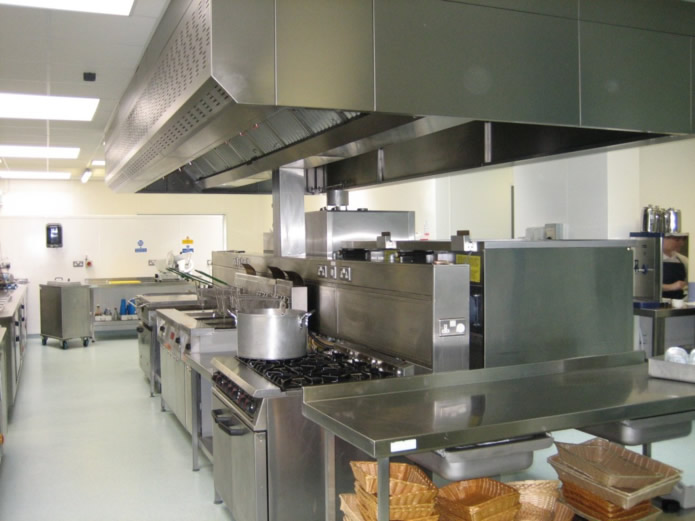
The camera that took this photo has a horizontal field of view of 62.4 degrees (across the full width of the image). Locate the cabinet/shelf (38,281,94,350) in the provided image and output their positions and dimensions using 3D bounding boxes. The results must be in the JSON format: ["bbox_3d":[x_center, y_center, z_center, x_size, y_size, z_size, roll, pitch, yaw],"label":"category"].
[{"bbox_3d":[-4.740,0.885,9.548,0.884,1.060,0.576,0,7,24],"label":"cabinet/shelf"}]

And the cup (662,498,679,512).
[{"bbox_3d":[1.671,1.256,2.949,0.049,0.048,0.088,1,-9,-6],"label":"cup"}]

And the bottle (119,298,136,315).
[{"bbox_3d":[-3.851,0.804,9.948,0.269,0.282,0.198,-6,7,-29],"label":"bottle"}]

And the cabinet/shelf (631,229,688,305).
[{"bbox_3d":[3.199,0.050,5.813,0.582,0.690,0.294,-1,7,12],"label":"cabinet/shelf"}]

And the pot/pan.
[{"bbox_3d":[-0.458,0.455,3.508,0.472,0.217,0.318,-1,-4,16],"label":"pot/pan"}]

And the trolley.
[{"bbox_3d":[-4.758,0.900,9.565,0.608,0.960,0.727,2,1,11],"label":"trolley"}]

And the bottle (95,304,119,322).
[{"bbox_3d":[-4.149,0.874,9.777,0.294,0.182,0.293,1,2,0],"label":"bottle"}]

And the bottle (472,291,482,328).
[{"bbox_3d":[0.715,0.272,3.160,0.011,0.189,0.077,-8,8,-40],"label":"bottle"}]

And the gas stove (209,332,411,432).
[{"bbox_3d":[-0.292,0.835,3.608,0.923,0.512,1.443,-1,-3,-21],"label":"gas stove"}]
